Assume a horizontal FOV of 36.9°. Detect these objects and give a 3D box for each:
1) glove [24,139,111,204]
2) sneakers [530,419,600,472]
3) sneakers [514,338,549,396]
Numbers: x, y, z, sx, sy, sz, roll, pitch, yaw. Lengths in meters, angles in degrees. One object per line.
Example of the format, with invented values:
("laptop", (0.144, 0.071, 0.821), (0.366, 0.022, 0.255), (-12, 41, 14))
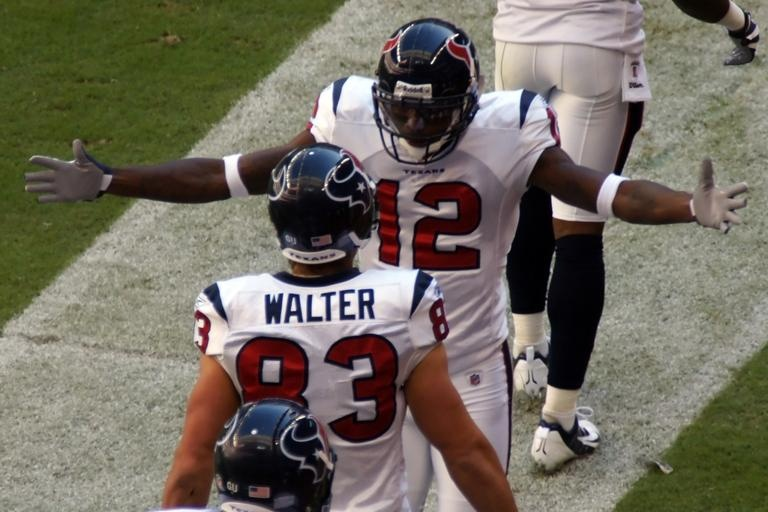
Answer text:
("glove", (-2.047, -0.526, 7.361), (0.577, 0.409, 0.120), (-3, 20, -23))
("sneakers", (1.135, 1.184, 7.287), (0.240, 0.239, 0.490), (18, 33, 38))
("sneakers", (0.995, 0.717, 7.719), (0.156, 0.211, 0.429), (2, 40, 12))
